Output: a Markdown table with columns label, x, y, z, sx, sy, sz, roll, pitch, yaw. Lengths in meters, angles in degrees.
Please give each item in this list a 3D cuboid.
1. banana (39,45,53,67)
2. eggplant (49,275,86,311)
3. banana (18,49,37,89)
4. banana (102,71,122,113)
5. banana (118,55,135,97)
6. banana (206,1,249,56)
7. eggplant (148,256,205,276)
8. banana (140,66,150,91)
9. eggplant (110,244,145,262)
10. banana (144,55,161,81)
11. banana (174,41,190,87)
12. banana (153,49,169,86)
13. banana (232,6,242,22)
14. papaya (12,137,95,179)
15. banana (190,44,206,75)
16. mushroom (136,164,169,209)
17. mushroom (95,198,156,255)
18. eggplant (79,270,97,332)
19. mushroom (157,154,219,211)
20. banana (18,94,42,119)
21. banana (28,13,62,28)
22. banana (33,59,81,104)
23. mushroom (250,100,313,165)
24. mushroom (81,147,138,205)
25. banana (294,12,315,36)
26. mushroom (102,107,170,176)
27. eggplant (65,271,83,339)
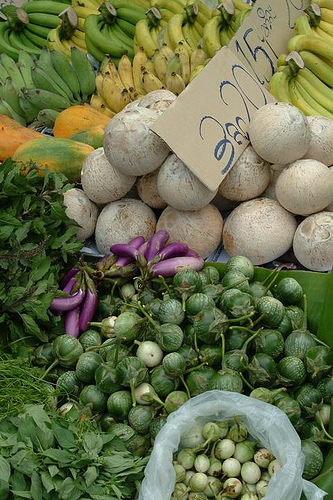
| label | x | y | z | sx | sy | sz | roll | pitch | yaw |
| --- | --- | --- | --- | --- | --- | --- | --- | --- | --- |
| banana | -0.834 | -1.335 | 2.906 | 0.056 | 0.067 | 0.190 | -25 | 65 | -2 |
| eggplant | -0.340 | 0.146 | 1.450 | 0.153 | 0.292 | 0.095 | -1 | 80 | -24 |
| banana | -0.978 | -1.257 | 2.982 | 0.108 | 0.124 | 0.378 | -9 | 66 | -3 |
| banana | -0.344 | -0.990 | 2.690 | 0.093 | 0.260 | 0.071 | 15 | 49 | 13 |
| banana | -0.286 | -1.243 | 2.980 | 0.117 | 0.418 | 0.131 | 16 | 91 | -3 |
| banana | 0.380 | -1.480 | 2.755 | 0.205 | 0.192 | 0.638 | 4 | 56 | 18 |
| eggplant | 0.028 | 0.046 | 1.512 | 0.232 | 0.068 | 0.070 | -7 | 100 | -15 |
| banana | -0.139 | -1.053 | 2.582 | 0.051 | 0.119 | 0.092 | -20 | 53 | 1 |
| eggplant | -0.150 | 0.004 | 1.593 | 0.121 | 0.048 | 0.035 | 12 | 72 | 24 |
| banana | -0.092 | -1.154 | 2.695 | 0.045 | 0.149 | 0.052 | -17 | 26 | 5 |
| banana | 0.110 | -1.181 | 2.681 | 0.085 | 0.093 | 0.298 | -2 | 87 | 21 |
| banana | -0.029 | -1.138 | 2.654 | 0.059 | 0.195 | 0.061 | -10 | 35 | 9 |
| banana | 0.471 | -1.590 | 2.863 | 0.046 | 0.070 | 0.193 | 8 | 44 | 14 |
| papaya | -0.493 | -0.468 | 2.049 | 0.347 | 0.194 | 0.182 | -1 | 19 | 11 |
| banana | 0.198 | -1.188 | 2.684 | 0.060 | 0.058 | 0.191 | 12 | 92 | -21 |
| mushroom | -0.068 | -0.272 | 1.867 | 0.132 | 0.087 | 0.155 | -8 | 59 | 7 |
| mushroom | -0.190 | -0.131 | 1.900 | 0.254 | 0.221 | 0.140 | -42 | 24 | -2 |
| eggplant | -0.284 | 0.187 | 1.519 | 0.069 | 0.058 | 0.243 | 23 | 36 | -25 |
| mushroom | 0.060 | -0.242 | 1.586 | 0.221 | 0.120 | 0.217 | -8 | 98 | -2 |
| banana | -0.851 | -0.900 | 2.641 | 0.070 | 0.194 | 0.067 | 41 | 93 | 21 |
| banana | -0.959 | -1.852 | 3.417 | 0.292 | 0.117 | 0.111 | 12 | 60 | 23 |
| banana | -0.747 | -1.039 | 2.657 | 0.065 | 0.125 | 0.379 | -43 | 83 | 10 |
| mushroom | 0.469 | -0.469 | 1.775 | 0.238 | 0.187 | 0.238 | 29 | 94 | 13 |
| mushroom | -0.267 | -0.299 | 1.884 | 0.234 | 0.240 | 0.184 | -32 | 55 | -21 |
| banana | 0.811 | -1.327 | 2.557 | 0.057 | 0.136 | 0.138 | -11 | 50 | 17 |
| mushroom | -0.139 | -0.423 | 1.766 | 0.259 | 0.199 | 0.259 | 28 | 71 | 5 |
| eggplant | -0.319 | 0.195 | 1.488 | 0.043 | 0.050 | 0.203 | 18 | 74 | -17 |
